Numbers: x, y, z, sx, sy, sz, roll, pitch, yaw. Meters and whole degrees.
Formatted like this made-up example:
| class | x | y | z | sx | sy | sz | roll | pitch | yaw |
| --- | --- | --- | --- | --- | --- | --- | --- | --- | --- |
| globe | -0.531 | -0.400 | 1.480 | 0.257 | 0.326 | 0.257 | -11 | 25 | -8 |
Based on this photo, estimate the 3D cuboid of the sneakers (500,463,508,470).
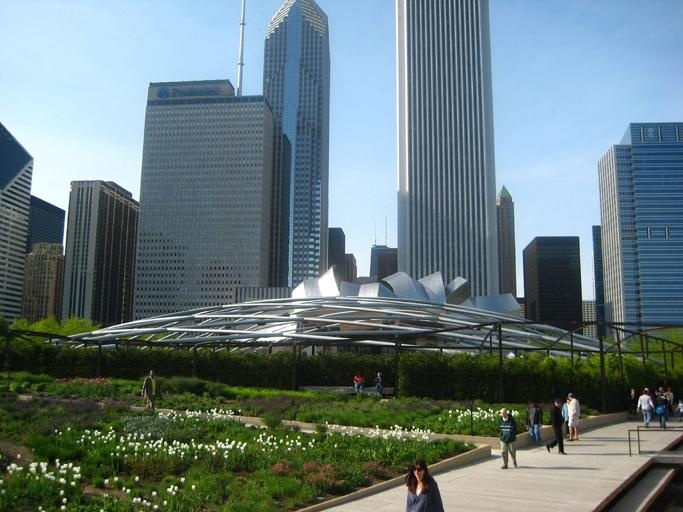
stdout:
| class | x | y | z | sx | sy | sz | roll | pitch | yaw |
| --- | --- | --- | --- | --- | --- | --- | --- | --- | --- |
| sneakers | 5.223 | 6.750 | 20.934 | 0.291 | 0.144 | 0.107 | 14 | -17 | -38 |

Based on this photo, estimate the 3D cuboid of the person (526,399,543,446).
| class | x | y | z | sx | sy | sz | roll | pitch | yaw |
| --- | --- | --- | --- | --- | --- | --- | --- | --- | --- |
| person | 7.280 | 6.355 | 24.681 | 0.474 | 1.580 | 1.157 | -3 | -10 | 15 |

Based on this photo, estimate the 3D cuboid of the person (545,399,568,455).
| class | x | y | z | sx | sy | sz | roll | pitch | yaw |
| --- | --- | --- | --- | --- | --- | --- | --- | --- | --- |
| person | 7.724 | 6.155 | 23.510 | 0.650 | 1.889 | 0.530 | -4 | -15 | 23 |

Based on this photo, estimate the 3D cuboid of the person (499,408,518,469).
| class | x | y | z | sx | sy | sz | roll | pitch | yaw |
| --- | --- | --- | --- | --- | --- | --- | --- | --- | --- |
| person | 5.457 | 5.954 | 21.374 | 0.498 | 1.825 | 0.992 | -3 | -9 | 14 |
